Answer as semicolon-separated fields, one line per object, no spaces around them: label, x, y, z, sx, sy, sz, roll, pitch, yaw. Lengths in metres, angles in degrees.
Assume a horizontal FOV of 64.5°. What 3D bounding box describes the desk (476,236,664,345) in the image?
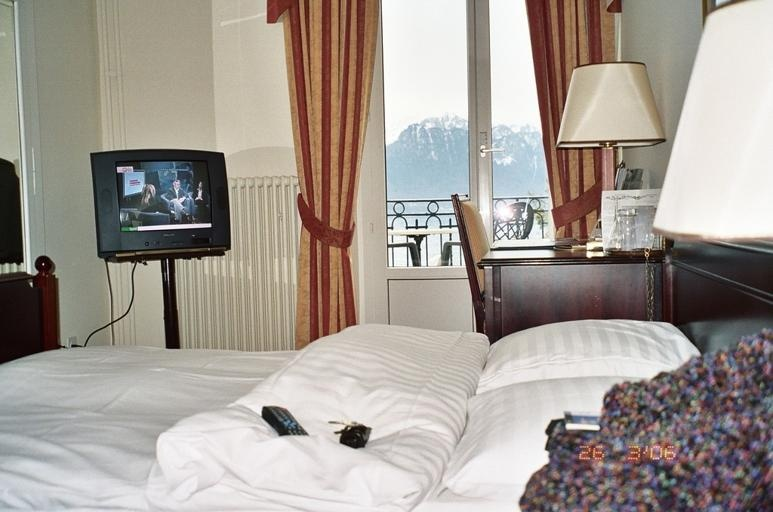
desk;0.736;0.133;2.455;0.451;0.473;0.435;-2;0;8

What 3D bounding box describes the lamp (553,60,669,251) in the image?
lamp;1.071;-0.594;3.000;0.550;0.768;0.551;-3;27;14
